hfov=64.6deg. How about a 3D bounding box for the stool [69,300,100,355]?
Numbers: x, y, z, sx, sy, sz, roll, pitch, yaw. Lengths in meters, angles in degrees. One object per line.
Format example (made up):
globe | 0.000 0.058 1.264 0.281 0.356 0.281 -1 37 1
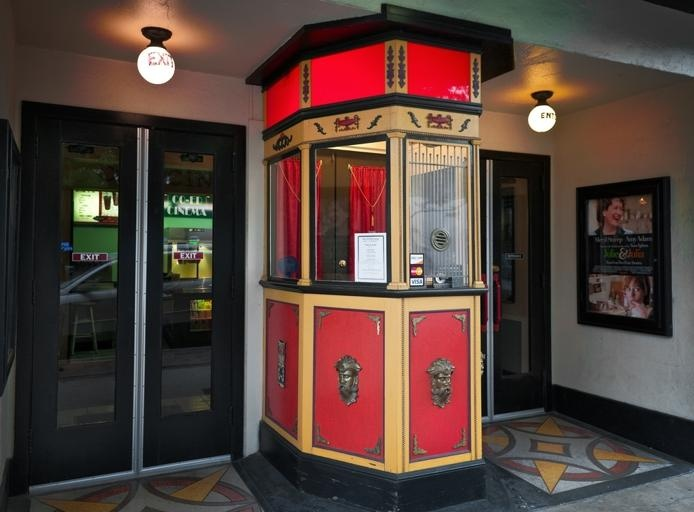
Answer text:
stool | -2.310 0.619 4.826 0.260 0.421 0.269 -2 -1 -4

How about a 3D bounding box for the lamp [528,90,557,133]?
lamp | 1.958 -1.455 5.571 0.219 0.392 0.607 2 7 19

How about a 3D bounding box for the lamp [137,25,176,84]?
lamp | -1.457 -1.499 4.174 0.276 0.411 0.275 -1 5 -36
